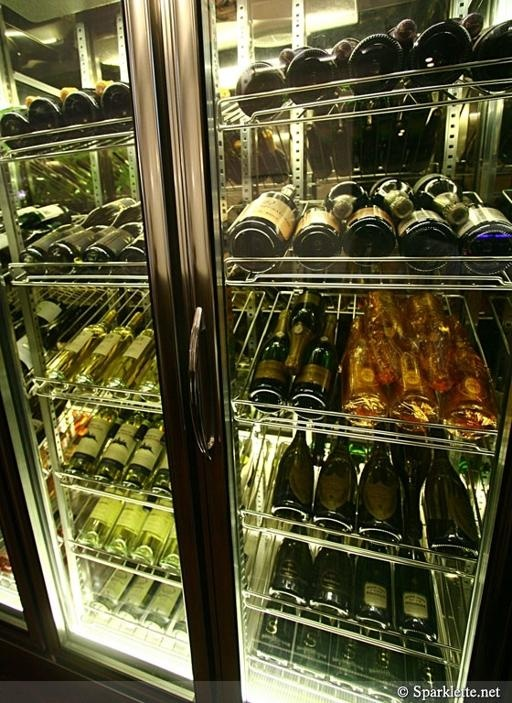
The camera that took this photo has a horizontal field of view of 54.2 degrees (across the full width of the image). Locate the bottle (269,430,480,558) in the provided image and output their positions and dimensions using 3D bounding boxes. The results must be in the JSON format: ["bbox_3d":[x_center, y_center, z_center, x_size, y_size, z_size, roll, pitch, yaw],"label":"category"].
[{"bbox_3d":[0.253,0.293,1.117,0.446,0.127,0.275,7,21,21],"label":"bottle"}]
